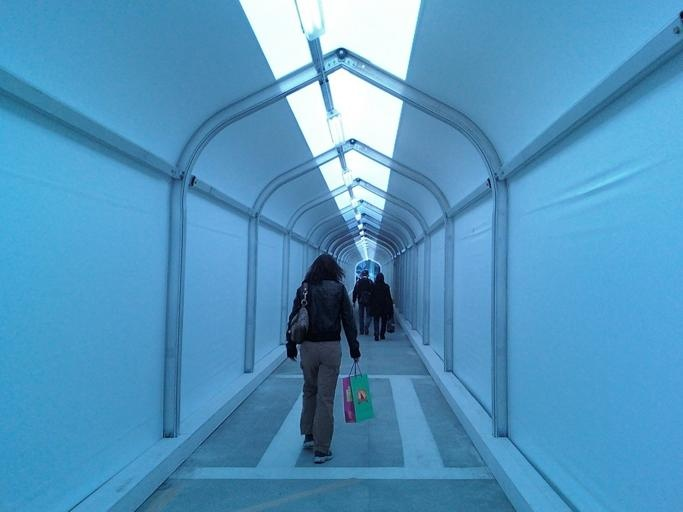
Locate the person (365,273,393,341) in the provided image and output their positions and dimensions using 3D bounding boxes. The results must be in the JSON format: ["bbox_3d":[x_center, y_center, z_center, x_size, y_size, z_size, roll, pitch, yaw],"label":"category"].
[{"bbox_3d":[1.076,1.279,11.210,0.626,1.823,1.567,0,1,6],"label":"person"}]

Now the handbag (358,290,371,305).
[{"bbox_3d":[0.673,1.108,11.415,0.400,0.447,0.266,0,-44,7],"label":"handbag"}]

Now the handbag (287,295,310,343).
[{"bbox_3d":[-0.417,0.642,4.336,0.152,0.484,0.409,14,-9,-4],"label":"handbag"}]

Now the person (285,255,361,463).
[{"bbox_3d":[-0.192,0.996,4.340,0.723,2.061,0.542,0,1,-18],"label":"person"}]

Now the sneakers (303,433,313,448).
[{"bbox_3d":[-0.343,1.923,4.429,0.083,0.151,0.137,2,-9,-7],"label":"sneakers"}]

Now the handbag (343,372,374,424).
[{"bbox_3d":[0.170,1.429,4.222,0.289,0.542,0.331,0,1,0],"label":"handbag"}]
